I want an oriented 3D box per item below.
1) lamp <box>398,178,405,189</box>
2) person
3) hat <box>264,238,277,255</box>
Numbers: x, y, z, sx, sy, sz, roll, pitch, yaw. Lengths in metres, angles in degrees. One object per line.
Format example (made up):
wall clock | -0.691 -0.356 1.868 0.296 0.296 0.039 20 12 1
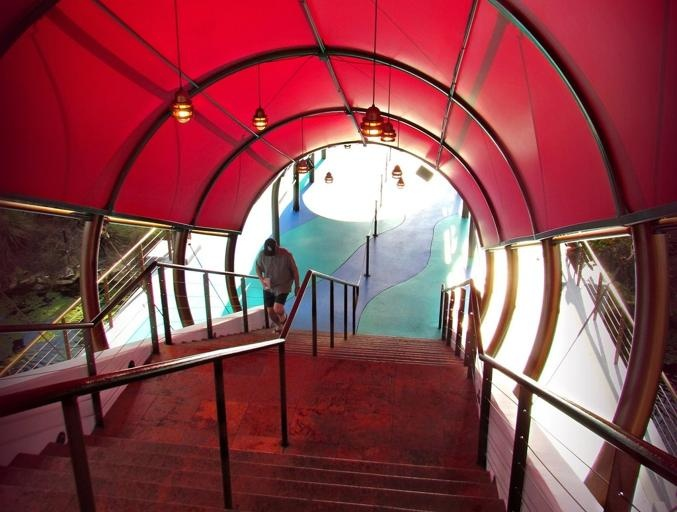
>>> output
lamp | 2.630 -3.014 18.722 0.392 0.485 0.319 1 4 -1
person | -1.116 0.604 8.313 0.787 1.915 0.785 -1 7 -13
hat | -1.194 -0.163 7.983 0.192 0.261 0.285 -1 7 -3
